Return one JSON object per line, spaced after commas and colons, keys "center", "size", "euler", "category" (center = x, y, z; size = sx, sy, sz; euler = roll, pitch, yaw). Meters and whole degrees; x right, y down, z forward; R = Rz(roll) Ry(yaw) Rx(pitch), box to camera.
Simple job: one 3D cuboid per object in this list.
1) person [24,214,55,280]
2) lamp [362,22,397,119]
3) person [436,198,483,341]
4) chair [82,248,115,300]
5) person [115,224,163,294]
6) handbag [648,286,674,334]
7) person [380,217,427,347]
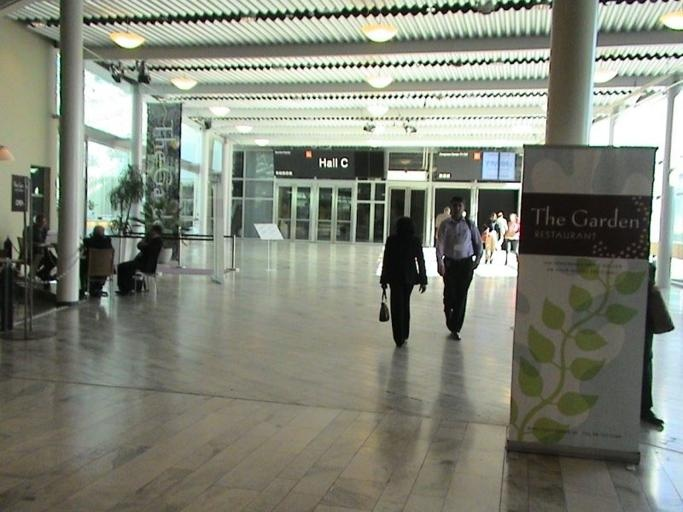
{"center": [-5.887, -0.145, 10.703], "size": [0.456, 1.293, 2.709], "euler": [-2, 7, -28], "category": "person"}
{"center": [0.950, -4.681, 13.728], "size": [0.750, 1.404, 0.859], "euler": [-1, 7, -2], "category": "lamp"}
{"center": [1.638, 0.176, 7.679], "size": [0.624, 1.970, 0.265], "euler": [3, 5, 15], "category": "person"}
{"center": [-4.509, 0.313, 10.083], "size": [0.479, 0.892, 0.464], "euler": [-6, -4, 44], "category": "chair"}
{"center": [-4.170, 0.009, 11.233], "size": [0.849, 1.335, 1.106], "euler": [-1, 6, -23], "category": "person"}
{"center": [2.945, 0.507, 5.020], "size": [0.205, 0.521, 0.549], "euler": [5, 7, 32], "category": "handbag"}
{"center": [0.839, 0.325, 7.387], "size": [0.596, 1.708, 0.572], "euler": [2, 5, 7], "category": "person"}
